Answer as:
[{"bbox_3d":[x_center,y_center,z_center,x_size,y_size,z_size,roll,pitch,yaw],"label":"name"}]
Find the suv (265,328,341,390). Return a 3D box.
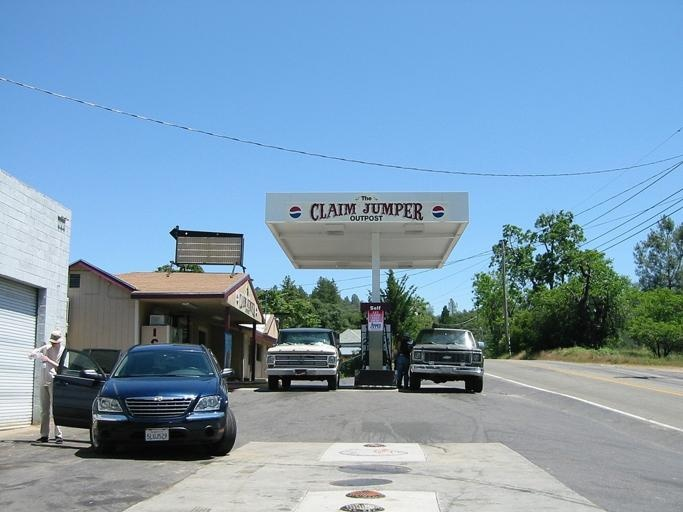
[{"bbox_3d":[-1.362,3.654,23.592,1.745,1.359,2.962,-1,-15,2],"label":"suv"}]

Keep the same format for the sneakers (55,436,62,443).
[{"bbox_3d":[-5.566,3.645,12.865,0.079,0.090,0.225,3,-16,-18],"label":"sneakers"}]

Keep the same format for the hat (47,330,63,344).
[{"bbox_3d":[-6.053,1.742,13.856,0.387,0.167,0.516,2,-11,-20],"label":"hat"}]

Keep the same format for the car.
[{"bbox_3d":[-3.335,2.541,11.828,2.235,1.060,2.652,1,-22,-5],"label":"car"}]
